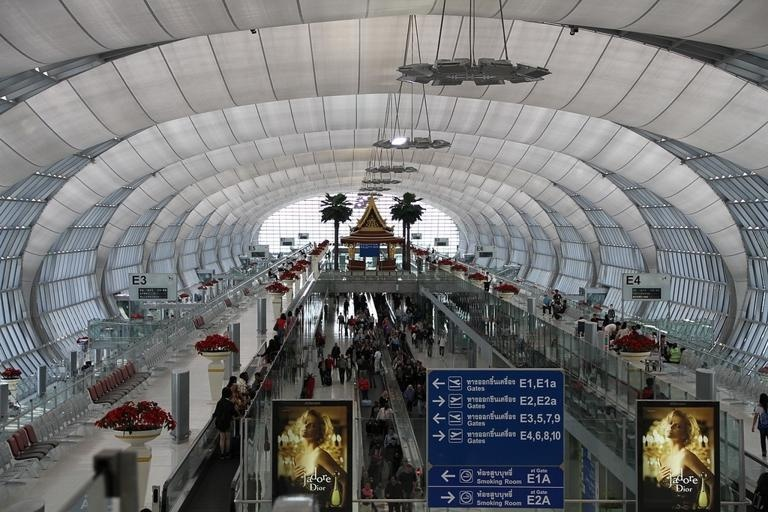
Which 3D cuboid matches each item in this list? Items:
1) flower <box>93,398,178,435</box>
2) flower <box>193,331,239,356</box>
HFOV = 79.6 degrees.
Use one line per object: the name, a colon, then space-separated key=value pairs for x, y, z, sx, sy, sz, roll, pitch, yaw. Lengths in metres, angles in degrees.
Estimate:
flower: x=-5.032 y=3.290 z=9.451 sx=1.046 sy=0.415 sz=1.004 roll=1 pitch=-2 yaw=-5
flower: x=-5.564 y=2.948 z=15.275 sx=1.052 sy=0.528 sz=1.001 roll=2 pitch=-4 yaw=-13
